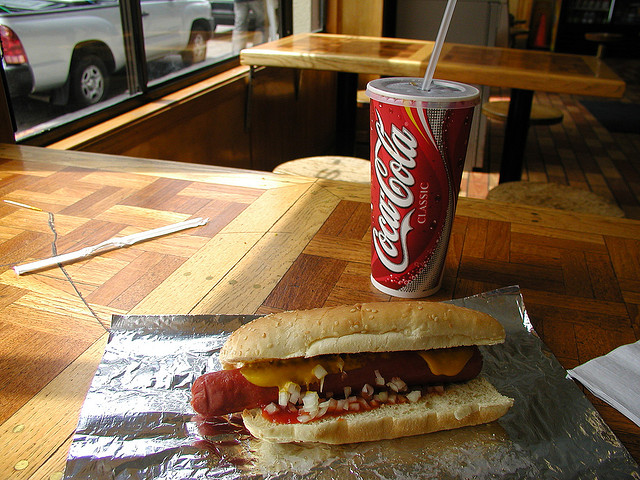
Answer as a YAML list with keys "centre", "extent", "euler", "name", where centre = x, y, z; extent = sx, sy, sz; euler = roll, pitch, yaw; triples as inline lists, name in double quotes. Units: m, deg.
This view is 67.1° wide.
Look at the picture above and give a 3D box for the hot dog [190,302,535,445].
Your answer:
- centre: [0.110, 0.247, 0.891]
  extent: [0.639, 0.164, 0.229]
  euler: [-3, 22, -6]
  name: "hot dog"
